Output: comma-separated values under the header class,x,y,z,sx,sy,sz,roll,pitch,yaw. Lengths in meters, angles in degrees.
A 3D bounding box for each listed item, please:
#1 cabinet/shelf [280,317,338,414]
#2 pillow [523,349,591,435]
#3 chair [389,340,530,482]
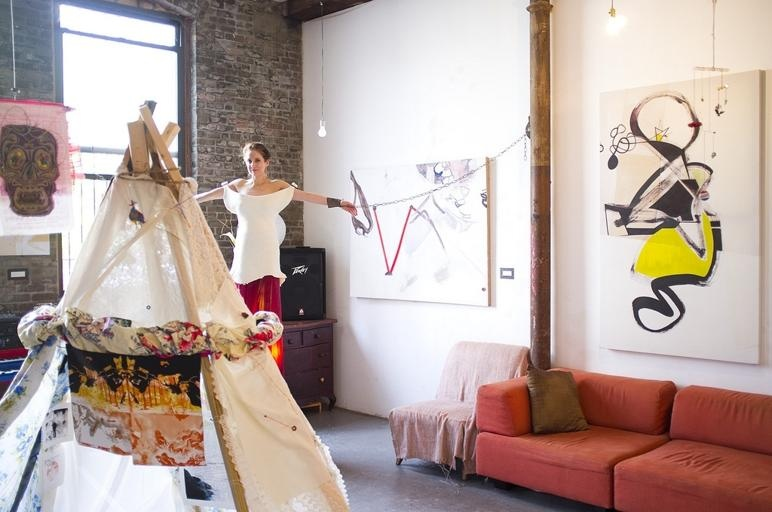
class,x,y,z,sx,sy,sz,roll,pitch,yaw
cabinet/shelf,-1.117,1.355,7.261,0.954,1.097,0.692,-2,3,-33
pillow,1.506,1.280,5.248,0.183,0.694,0.709,13,-39,-1
chair,0.755,1.447,5.692,1.233,1.048,1.222,0,-5,-31
